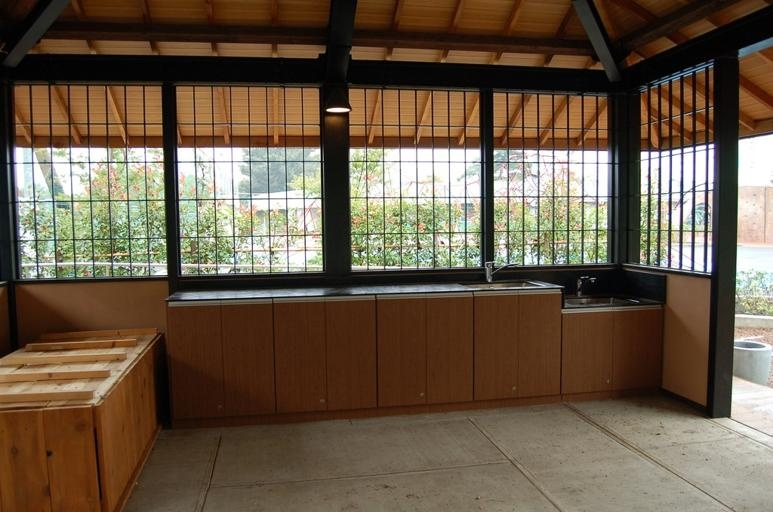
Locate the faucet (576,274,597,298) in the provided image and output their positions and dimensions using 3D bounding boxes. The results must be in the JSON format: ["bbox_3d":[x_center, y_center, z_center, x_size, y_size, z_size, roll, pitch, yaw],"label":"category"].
[{"bbox_3d":[2.519,0.399,7.370,0.252,0.312,0.281,0,3,-16],"label":"faucet"}]

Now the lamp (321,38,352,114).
[{"bbox_3d":[-0.582,-2.014,6.674,0.354,0.739,0.615,-3,5,-5],"label":"lamp"}]
